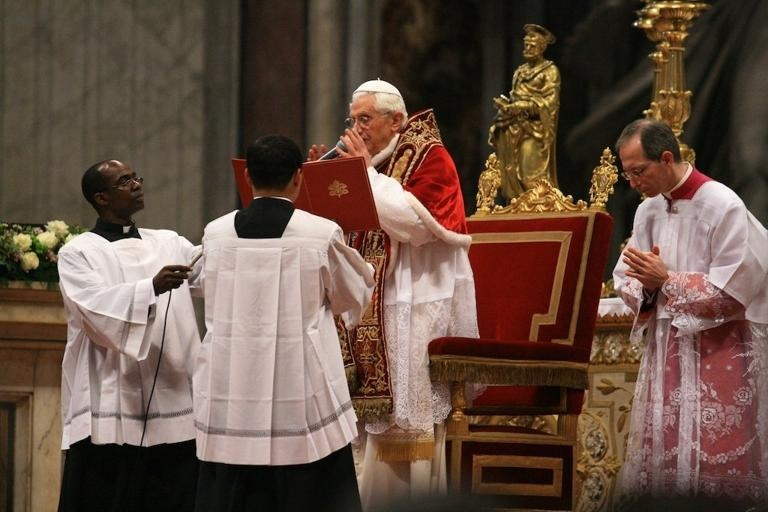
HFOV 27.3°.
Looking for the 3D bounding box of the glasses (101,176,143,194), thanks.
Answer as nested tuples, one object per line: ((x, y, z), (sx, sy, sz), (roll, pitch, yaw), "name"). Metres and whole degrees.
((-1.660, -0.445, 9.876), (0.161, 0.041, 0.153), (-16, 1, 34), "glasses")

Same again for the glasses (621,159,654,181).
((1.548, -0.545, 9.722), (0.176, 0.090, 0.133), (-29, 6, -18), "glasses")

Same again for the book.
((-0.459, -0.366, 9.330), (0.643, 0.324, 0.074), (1, 30, 15), "book")
